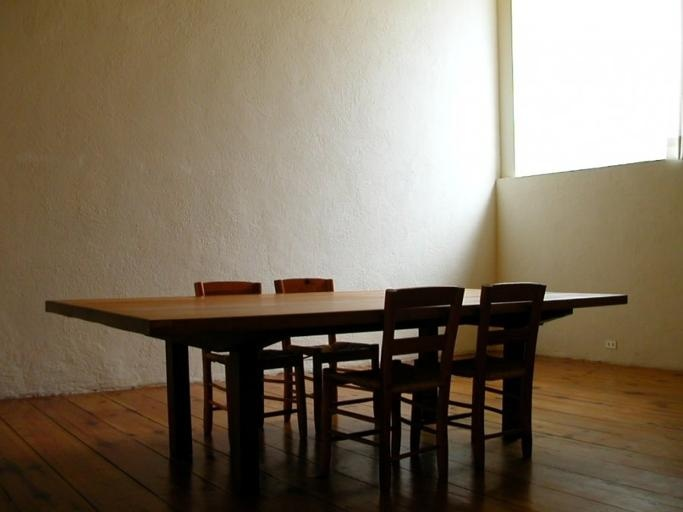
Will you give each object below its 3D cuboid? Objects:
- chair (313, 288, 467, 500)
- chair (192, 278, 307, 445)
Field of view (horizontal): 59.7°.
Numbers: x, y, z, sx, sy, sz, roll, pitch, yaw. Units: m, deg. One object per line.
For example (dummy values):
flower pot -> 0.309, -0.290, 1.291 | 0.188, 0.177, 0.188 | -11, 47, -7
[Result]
chair -> 0.281, 0.730, 3.443 | 0.696, 1.039, 0.674 | -4, -5, 44
chair -> -0.606, 0.709, 4.073 | 0.673, 1.006, 0.659 | 0, 2, -35
